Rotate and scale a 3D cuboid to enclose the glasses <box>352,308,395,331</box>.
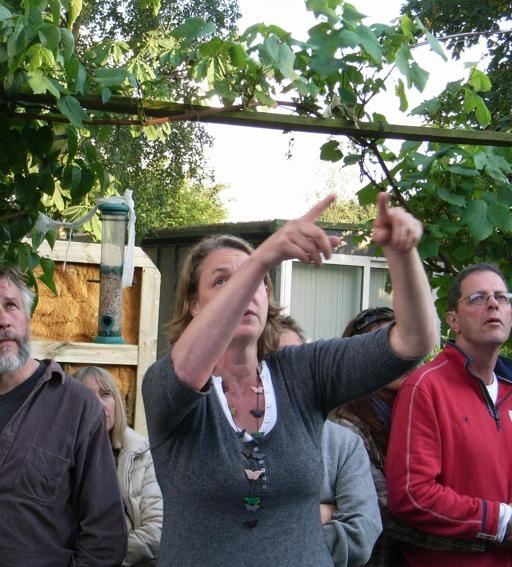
[{"bbox_3d":[0.612,0.181,3.475,0.147,0.046,0.161,-3,-25,-18],"label":"glasses"}]
